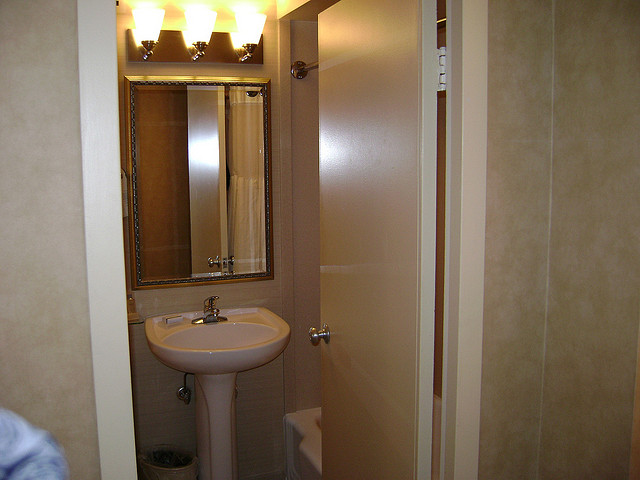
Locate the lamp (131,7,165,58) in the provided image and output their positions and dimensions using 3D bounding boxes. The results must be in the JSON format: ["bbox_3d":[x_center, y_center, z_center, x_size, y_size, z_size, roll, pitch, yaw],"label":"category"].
[{"bbox_3d":[-0.763,-0.930,2.498,0.119,0.227,0.108,-6,8,-31],"label":"lamp"}]

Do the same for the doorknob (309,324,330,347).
[{"bbox_3d":[-0.002,0.359,2.159,0.069,0.095,0.082,5,-30,-21],"label":"doorknob"}]

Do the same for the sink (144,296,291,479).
[{"bbox_3d":[-0.448,0.720,2.538,0.610,0.891,0.534,-5,7,-20],"label":"sink"}]

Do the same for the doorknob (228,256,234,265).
[{"bbox_3d":[-0.434,0.101,2.738,0.030,0.032,0.023,2,5,5],"label":"doorknob"}]

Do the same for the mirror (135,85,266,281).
[{"bbox_3d":[-0.551,-0.275,2.660,0.674,1.047,0.033,-2,-11,-14],"label":"mirror"}]

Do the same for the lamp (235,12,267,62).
[{"bbox_3d":[-0.321,-0.935,2.610,0.168,0.278,0.184,0,10,-4],"label":"lamp"}]

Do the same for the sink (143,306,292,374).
[{"bbox_3d":[-0.456,0.469,2.507,0.611,0.225,0.529,-5,7,-19],"label":"sink"}]

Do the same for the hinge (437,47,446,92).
[{"bbox_3d":[0.336,-0.468,1.551,0.021,0.118,0.015,-1,7,12],"label":"hinge"}]
